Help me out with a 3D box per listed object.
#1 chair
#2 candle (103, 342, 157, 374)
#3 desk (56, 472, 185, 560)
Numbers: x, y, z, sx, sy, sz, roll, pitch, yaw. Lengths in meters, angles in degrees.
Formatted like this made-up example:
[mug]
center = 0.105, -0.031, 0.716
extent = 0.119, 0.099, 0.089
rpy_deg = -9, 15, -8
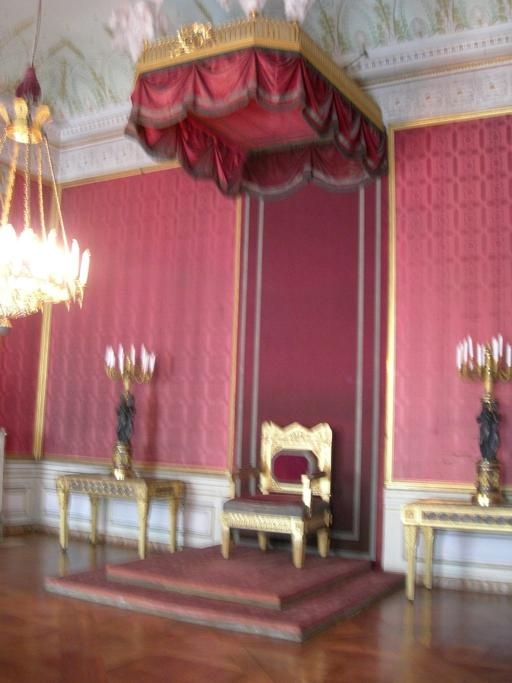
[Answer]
[chair]
center = 0.148, 1.077, 4.052
extent = 0.681, 1.046, 0.716
rpy_deg = 2, -14, 7
[candle]
center = -1.146, 0.170, 5.202
extent = 0.302, 0.233, 0.366
rpy_deg = -1, 5, -44
[desk]
center = -1.149, 1.456, 4.829
extent = 1.043, 0.687, 0.621
rpy_deg = -3, -7, 31
